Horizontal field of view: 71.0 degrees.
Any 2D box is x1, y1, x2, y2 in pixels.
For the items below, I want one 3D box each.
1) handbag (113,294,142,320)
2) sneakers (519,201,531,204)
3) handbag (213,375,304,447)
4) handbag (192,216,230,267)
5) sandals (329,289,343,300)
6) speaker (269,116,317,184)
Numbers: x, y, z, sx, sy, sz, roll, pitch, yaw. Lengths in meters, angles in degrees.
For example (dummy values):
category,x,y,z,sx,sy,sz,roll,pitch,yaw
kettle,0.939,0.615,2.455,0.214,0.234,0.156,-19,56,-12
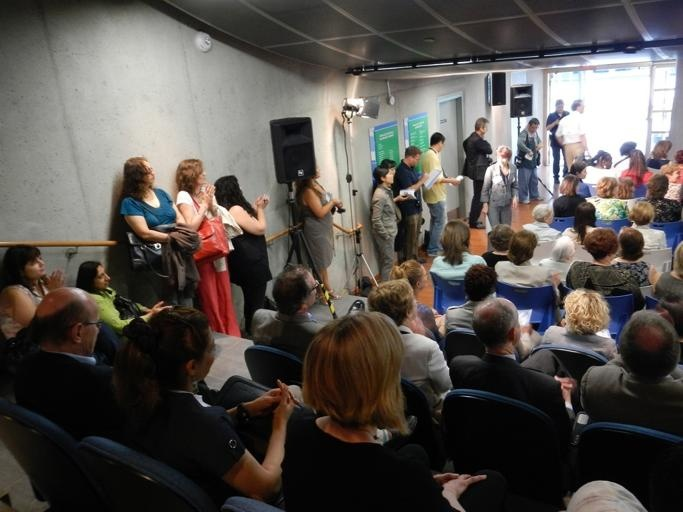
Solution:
category,x,y,z,sx,sy,sz,roll,pitch,yaw
handbag,-1.597,0.385,3.577,0.151,0.205,0.077,-13,-16,-42
sneakers,3.986,-1.154,10.403,0.181,0.085,0.076,1,10,24
handbag,-0.422,0.658,2.172,0.267,0.126,0.278,10,1,8
handbag,-1.164,-0.131,4.231,0.333,0.502,0.245,-11,-4,-32
sandals,-0.046,0.513,6.100,0.072,0.148,0.199,18,-33,-37
speaker,-0.549,-1.166,5.253,0.569,0.855,0.476,-13,15,-37
